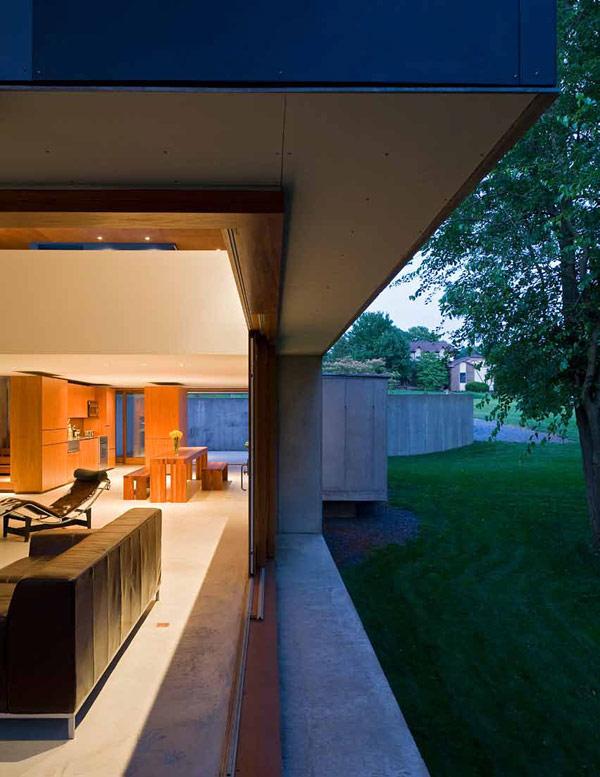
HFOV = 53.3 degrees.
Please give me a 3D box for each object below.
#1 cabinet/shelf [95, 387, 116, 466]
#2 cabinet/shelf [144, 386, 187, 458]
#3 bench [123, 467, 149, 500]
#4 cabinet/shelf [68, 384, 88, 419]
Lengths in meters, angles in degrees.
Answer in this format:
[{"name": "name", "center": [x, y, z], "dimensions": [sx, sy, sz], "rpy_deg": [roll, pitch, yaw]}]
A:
[{"name": "cabinet/shelf", "center": [-4.363, 0.870, 13.444], "dimensions": [0.396, 1.633, 1.390], "rpy_deg": [7, 1, -8]}, {"name": "cabinet/shelf", "center": [-3.093, 0.849, 13.208], "dimensions": [0.622, 2.041, 0.865], "rpy_deg": [-2, 15, -18]}, {"name": "bench", "center": [-2.502, 1.454, 9.197], "dimensions": [0.394, 0.428, 0.787], "rpy_deg": [7, 1, -16]}, {"name": "cabinet/shelf", "center": [-4.366, 0.237, 11.698], "dimensions": [0.132, 0.534, 0.580], "rpy_deg": [-1, -2, -2]}]
